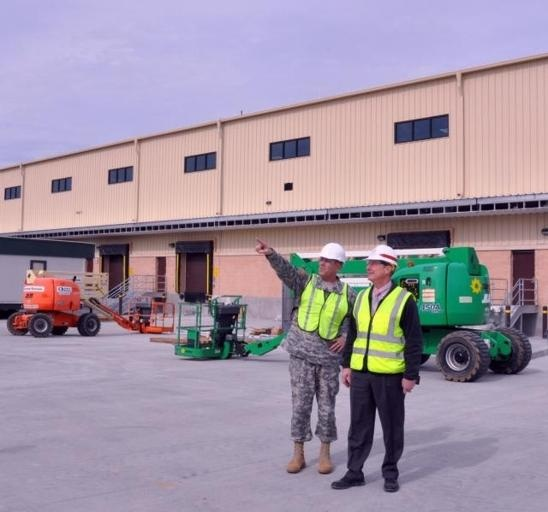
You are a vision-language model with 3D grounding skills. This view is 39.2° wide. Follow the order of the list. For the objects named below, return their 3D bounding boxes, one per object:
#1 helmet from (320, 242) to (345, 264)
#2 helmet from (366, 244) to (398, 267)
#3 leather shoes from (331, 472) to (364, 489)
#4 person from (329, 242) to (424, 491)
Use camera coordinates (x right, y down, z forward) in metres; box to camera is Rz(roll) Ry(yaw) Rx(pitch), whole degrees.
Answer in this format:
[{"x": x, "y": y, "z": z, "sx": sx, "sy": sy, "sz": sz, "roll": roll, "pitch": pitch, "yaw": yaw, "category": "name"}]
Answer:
[{"x": 0.656, "y": -0.013, "z": 8.218, "sx": 0.192, "sy": 0.128, "sz": 0.245, "roll": 8, "pitch": -3, "yaw": 29, "category": "helmet"}, {"x": 1.107, "y": 0.007, "z": 7.802, "sx": 0.256, "sy": 0.146, "sz": 0.204, "roll": 11, "pitch": -8, "yaw": -22, "category": "helmet"}, {"x": 0.718, "y": 2.265, "z": 7.663, "sx": 0.345, "sy": 0.148, "sz": 0.130, "roll": 6, "pitch": -13, "yaw": -29, "category": "leather shoes"}, {"x": 1.048, "y": 1.117, "z": 7.757, "sx": 0.851, "sy": 2.438, "sz": 0.382, "roll": 0, "pitch": -5, "yaw": 10, "category": "person"}]
